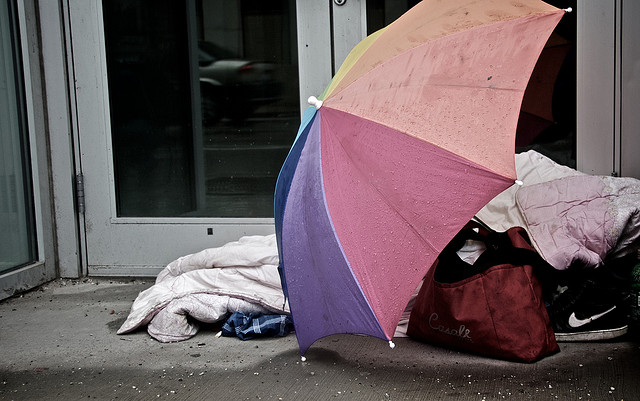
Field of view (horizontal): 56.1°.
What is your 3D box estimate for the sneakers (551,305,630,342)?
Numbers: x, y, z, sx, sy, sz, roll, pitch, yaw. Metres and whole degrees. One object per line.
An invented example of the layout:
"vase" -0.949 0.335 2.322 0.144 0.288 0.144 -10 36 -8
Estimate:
"sneakers" 1.953 0.903 4.450 0.598 0.277 0.229 0 2 3
